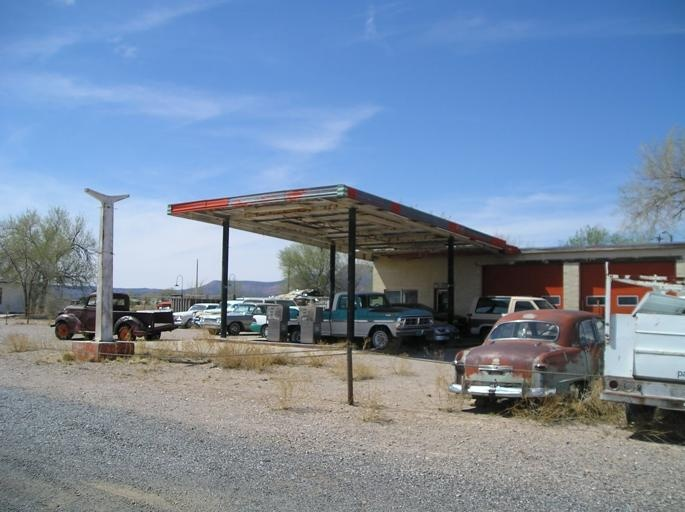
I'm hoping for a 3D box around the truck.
[{"bbox_3d":[-8.595,2.390,23.625,3.512,1.653,2.079,2,-4,16],"label":"truck"}]
